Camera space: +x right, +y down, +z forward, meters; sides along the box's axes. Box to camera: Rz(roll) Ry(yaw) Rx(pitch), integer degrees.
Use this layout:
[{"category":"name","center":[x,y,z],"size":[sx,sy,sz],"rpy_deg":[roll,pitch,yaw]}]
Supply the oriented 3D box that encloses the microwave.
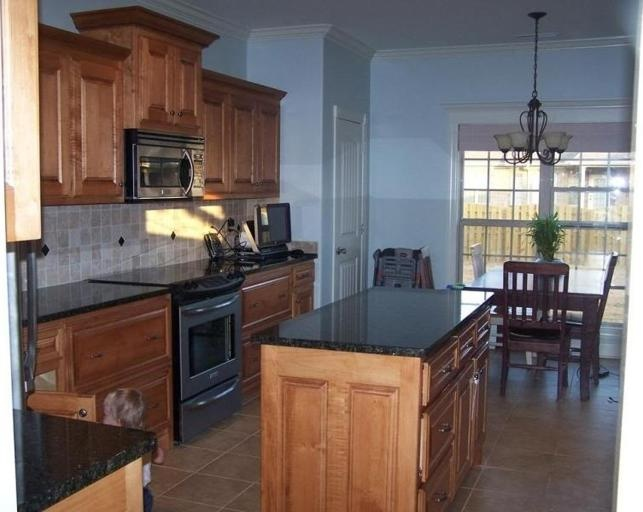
[{"category":"microwave","center":[-1.164,-0.638,3.967],"size":[0.287,0.467,0.776],"rpy_deg":[6,9,28]}]

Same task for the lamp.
[{"category":"lamp","center":[1.852,-1.448,4.695],"size":[0.596,1.236,0.602],"rpy_deg":[13,34,39]}]

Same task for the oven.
[{"category":"oven","center":[-0.957,0.690,3.931],"size":[0.580,1.091,0.764],"rpy_deg":[5,11,22]}]

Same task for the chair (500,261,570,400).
[{"category":"chair","center":[1.869,0.582,4.773],"size":[0.593,1.176,0.983],"rpy_deg":[3,7,25]}]

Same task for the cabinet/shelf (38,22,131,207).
[{"category":"cabinet/shelf","center":[-1.491,-0.809,3.366],"size":[0.964,0.935,0.275],"rpy_deg":[11,15,21]}]

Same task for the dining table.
[{"category":"dining table","center":[2.060,0.676,4.979],"size":[0.959,0.880,1.229],"rpy_deg":[9,10,27]}]

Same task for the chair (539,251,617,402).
[{"category":"chair","center":[2.569,0.627,4.833],"size":[0.719,1.124,0.748],"rpy_deg":[6,-4,-30]}]

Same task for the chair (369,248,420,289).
[{"category":"chair","center":[0.913,0.133,6.380],"size":[0.512,0.513,0.344],"rpy_deg":[5,17,7]}]
